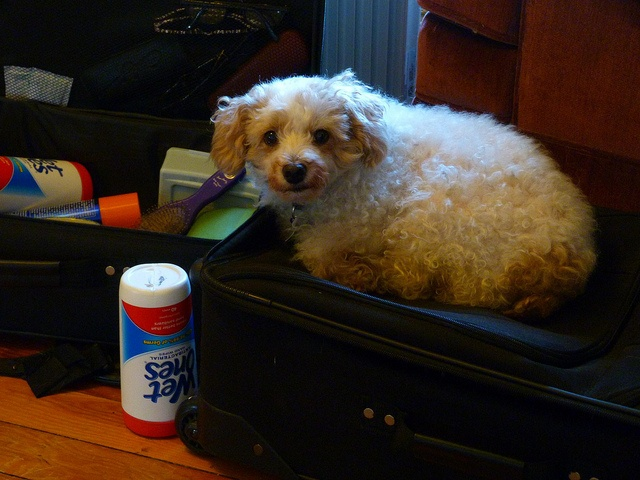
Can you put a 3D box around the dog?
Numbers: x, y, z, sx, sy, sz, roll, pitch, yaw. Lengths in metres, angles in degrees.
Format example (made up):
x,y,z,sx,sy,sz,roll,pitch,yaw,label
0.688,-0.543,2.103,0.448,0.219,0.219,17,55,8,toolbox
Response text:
x,y,z,sx,sy,sz,roll,pitch,yaw,label
0.186,-0.155,1.195,0.808,0.353,0.527,14,40,13,dog

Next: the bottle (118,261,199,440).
x,y,z,sx,sy,sz,roll,pitch,yaw,label
-0.322,0.213,1.128,0.163,0.341,0.137,-6,13,-35,bottle
